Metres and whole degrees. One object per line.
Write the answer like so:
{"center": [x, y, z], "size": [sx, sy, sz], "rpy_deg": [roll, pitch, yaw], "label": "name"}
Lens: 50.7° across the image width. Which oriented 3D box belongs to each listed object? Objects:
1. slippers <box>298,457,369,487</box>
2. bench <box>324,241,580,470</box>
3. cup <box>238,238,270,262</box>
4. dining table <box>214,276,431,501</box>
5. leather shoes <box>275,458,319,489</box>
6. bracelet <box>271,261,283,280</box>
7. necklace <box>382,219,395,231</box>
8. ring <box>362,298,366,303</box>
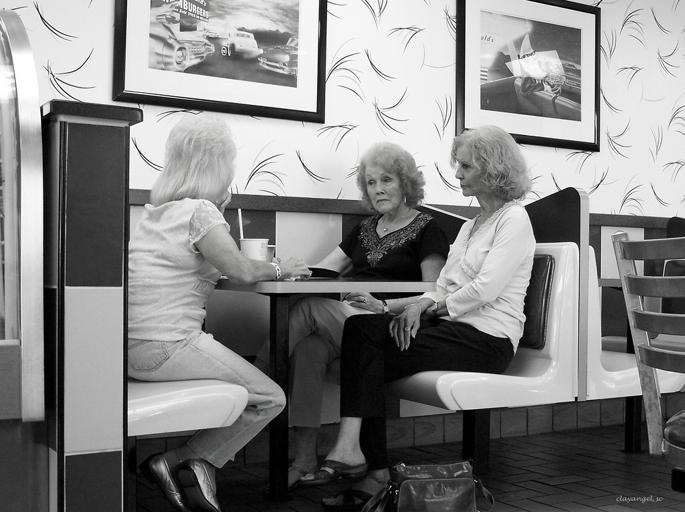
{"center": [0.000, 0.870, 2.952], "size": [0.340, 0.108, 0.128], "rpy_deg": [0, -8, -23], "label": "slippers"}
{"center": [0.534, 0.314, 3.131], "size": [0.641, 0.692, 0.855], "rpy_deg": [0, 2, -11], "label": "bench"}
{"center": [-0.338, -0.027, 2.779], "size": [0.110, 0.077, 0.073], "rpy_deg": [4, -7, -40], "label": "cup"}
{"center": [-0.305, 0.477, 3.251], "size": [1.068, 0.732, 1.044], "rpy_deg": [-5, -2, 5], "label": "dining table"}
{"center": [-0.196, 0.909, 2.972], "size": [0.073, 0.059, 0.153], "rpy_deg": [-12, -11, 38], "label": "leather shoes"}
{"center": [-0.255, 0.060, 2.714], "size": [0.042, 0.059, 0.060], "rpy_deg": [-5, 15, -21], "label": "bracelet"}
{"center": [0.220, -0.148, 3.533], "size": [0.054, 0.020, 0.053], "rpy_deg": [-13, 43, 9], "label": "necklace"}
{"center": [0.093, 0.198, 3.193], "size": [0.003, 0.012, 0.014], "rpy_deg": [13, 4, -43], "label": "ring"}
